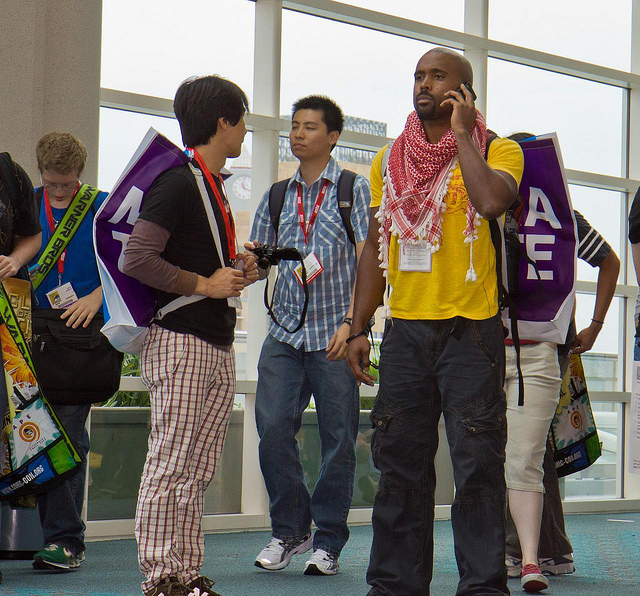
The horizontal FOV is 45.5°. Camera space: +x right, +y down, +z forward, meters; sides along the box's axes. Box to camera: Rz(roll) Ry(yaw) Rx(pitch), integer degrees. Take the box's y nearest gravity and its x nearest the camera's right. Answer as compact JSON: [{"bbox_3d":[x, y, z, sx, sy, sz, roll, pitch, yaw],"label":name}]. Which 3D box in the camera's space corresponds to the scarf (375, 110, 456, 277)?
[{"bbox_3d":[0.281,-0.307,2.213,0.181,0.442,0.184,5,8,17],"label":"scarf"}]

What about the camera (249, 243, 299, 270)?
[{"bbox_3d":[-0.167,-0.156,2.743,0.132,0.048,0.097,5,34,-7],"label":"camera"}]

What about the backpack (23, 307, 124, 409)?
[{"bbox_3d":[-0.960,0.219,2.899,0.343,0.490,0.266,-1,-15,-31],"label":"backpack"}]

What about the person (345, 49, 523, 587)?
[{"bbox_3d":[0.310,0.047,2.233,0.519,1.471,0.275,1,0,26],"label":"person"}]

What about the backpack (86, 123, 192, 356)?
[{"bbox_3d":[-0.546,-0.165,2.276,0.276,0.699,0.184,1,0,35],"label":"backpack"}]

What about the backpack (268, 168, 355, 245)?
[{"bbox_3d":[-0.001,-0.394,3.412,0.377,0.508,0.322,-1,0,13],"label":"backpack"}]
